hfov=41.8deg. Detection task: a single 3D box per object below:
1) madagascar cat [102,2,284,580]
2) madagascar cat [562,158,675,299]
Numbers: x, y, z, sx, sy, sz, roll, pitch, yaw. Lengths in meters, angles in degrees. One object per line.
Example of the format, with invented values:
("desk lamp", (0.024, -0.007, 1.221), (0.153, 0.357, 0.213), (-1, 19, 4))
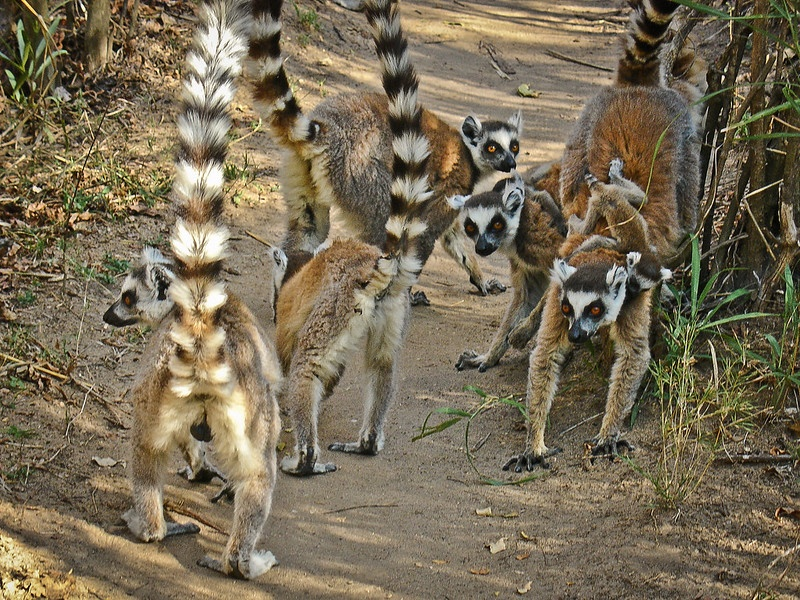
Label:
("madagascar cat", (-1.297, -0.084, 6.927), (1.009, 3.501, 1.545), (0, 21, -6))
("madagascar cat", (1.615, -0.559, 8.007), (0.641, 1.170, 0.598), (-18, 9, 16))
